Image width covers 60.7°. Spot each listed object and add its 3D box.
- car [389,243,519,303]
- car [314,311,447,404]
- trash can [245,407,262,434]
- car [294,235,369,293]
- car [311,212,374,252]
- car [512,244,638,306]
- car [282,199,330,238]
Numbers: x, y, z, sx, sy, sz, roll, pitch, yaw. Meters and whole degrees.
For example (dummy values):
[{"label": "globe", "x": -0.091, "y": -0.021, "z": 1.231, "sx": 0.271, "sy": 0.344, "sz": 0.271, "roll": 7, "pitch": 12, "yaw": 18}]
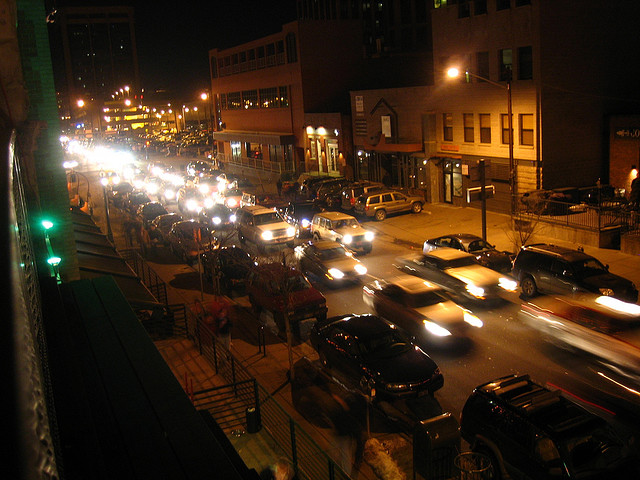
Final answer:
[{"label": "car", "x": 5.092, "y": 1.297, "z": 21.182, "sx": 1.835, "sy": 1.317, "sz": 4.205, "roll": -15, "pitch": 20, "yaw": -30}, {"label": "car", "x": 1.628, "y": 3.171, "z": 14.513, "sx": 1.944, "sy": 1.470, "sz": 3.270, "roll": -10, "pitch": 15, "yaw": -26}, {"label": "trash can", "x": -1.424, "y": 3.931, "z": 11.967, "sx": 0.367, "sy": 0.579, "sz": 0.197, "roll": -12, "pitch": 14, "yaw": -35}, {"label": "car", "x": 0.351, "y": 0.958, "z": 24.409, "sx": 1.893, "sy": 1.620, "sz": 4.323, "roll": -6, "pitch": 12, "yaw": -26}, {"label": "car", "x": 1.029, "y": -0.337, "z": 29.312, "sx": 2.002, "sy": 2.017, "sz": 3.752, "roll": -6, "pitch": 12, "yaw": -32}, {"label": "car", "x": 8.876, "y": 1.209, "z": 19.369, "sx": 1.720, "sy": 1.866, "sz": 3.852, "roll": -12, "pitch": 12, "yaw": -29}, {"label": "car", "x": -1.032, "y": -1.379, "z": 34.454, "sx": 2.237, "sy": 2.182, "sz": 4.004, "roll": -3, "pitch": 11, "yaw": -27}]
